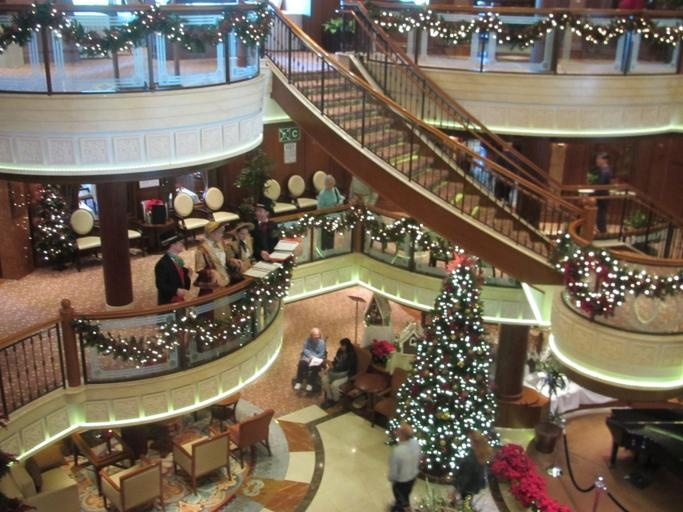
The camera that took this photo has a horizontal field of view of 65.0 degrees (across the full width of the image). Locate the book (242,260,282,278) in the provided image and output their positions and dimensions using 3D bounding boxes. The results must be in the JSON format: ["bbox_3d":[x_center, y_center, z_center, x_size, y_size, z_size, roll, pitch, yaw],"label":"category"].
[{"bbox_3d":[-1.172,0.217,8.094,0.385,0.096,0.541,7,21,21],"label":"book"}]

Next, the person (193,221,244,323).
[{"bbox_3d":[-2.007,0.329,8.236,0.718,1.667,0.702,11,21,0],"label":"person"}]

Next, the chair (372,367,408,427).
[{"bbox_3d":[0.949,2.951,11.036,0.685,1.070,0.977,5,21,15],"label":"chair"}]

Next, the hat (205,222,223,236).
[{"bbox_3d":[-1.913,-0.426,8.032,0.204,0.080,0.224,0,26,40],"label":"hat"}]

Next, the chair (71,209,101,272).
[{"bbox_3d":[-4.867,-0.368,10.211,0.492,1.045,0.895,-10,22,-24],"label":"chair"}]

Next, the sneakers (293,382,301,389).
[{"bbox_3d":[-0.975,2.906,11.990,0.091,0.071,0.162,-1,6,6],"label":"sneakers"}]

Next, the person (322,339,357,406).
[{"bbox_3d":[-0.059,2.531,11.763,0.807,1.465,0.618,-5,10,-26],"label":"person"}]

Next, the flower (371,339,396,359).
[{"bbox_3d":[0.922,2.043,12.034,0.525,0.212,0.588,0,20,1],"label":"flower"}]

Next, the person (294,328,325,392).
[{"bbox_3d":[-0.725,2.348,11.946,0.661,1.326,0.738,3,21,11],"label":"person"}]

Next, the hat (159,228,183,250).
[{"bbox_3d":[-2.935,-0.277,9.191,0.376,0.135,0.327,-29,12,-14],"label":"hat"}]
